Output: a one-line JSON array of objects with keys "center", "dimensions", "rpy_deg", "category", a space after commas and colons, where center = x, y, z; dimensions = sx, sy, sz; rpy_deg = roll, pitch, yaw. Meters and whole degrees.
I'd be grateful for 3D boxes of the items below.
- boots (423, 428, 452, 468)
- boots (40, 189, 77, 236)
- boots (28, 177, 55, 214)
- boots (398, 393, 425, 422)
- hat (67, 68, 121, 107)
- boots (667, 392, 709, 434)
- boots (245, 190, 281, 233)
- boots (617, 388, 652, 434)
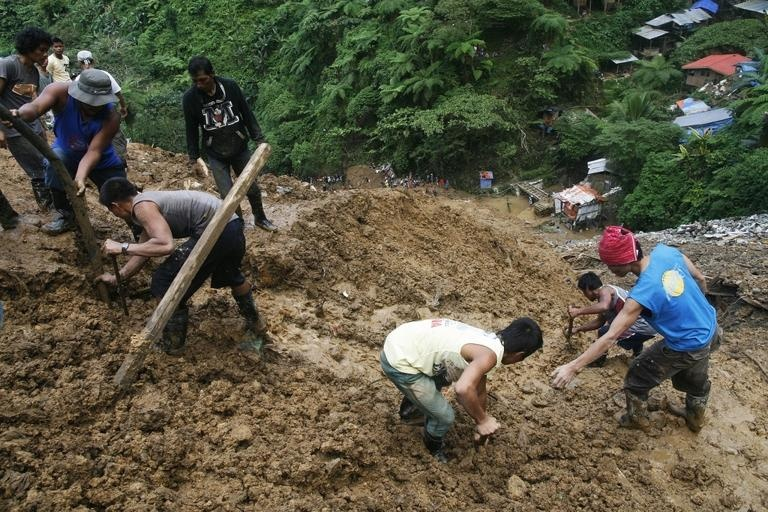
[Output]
[{"center": [0.723, 2.756, 11.484], "dimensions": [0.497, 0.534, 0.262], "rpy_deg": [10, 36, 20], "category": "boots"}, {"center": [-4.865, -0.625, 12.085], "dimensions": [0.638, 0.858, 0.399], "rpy_deg": [-2, 8, -30], "category": "boots"}, {"center": [-5.294, -0.946, 12.415], "dimensions": [0.522, 0.567, 0.286], "rpy_deg": [2, 32, -16], "category": "boots"}, {"center": [0.390, 2.191, 11.485], "dimensions": [0.232, 0.413, 0.307], "rpy_deg": [-38, 17, 3], "category": "boots"}, {"center": [-4.274, -2.570, 11.881], "dimensions": [0.742, 0.359, 0.843], "rpy_deg": [-4, 31, -25], "category": "hat"}, {"center": [4.446, 2.230, 11.890], "dimensions": [0.573, 0.612, 0.271], "rpy_deg": [27, 45, 32], "category": "boots"}, {"center": [-1.993, -0.742, 13.186], "dimensions": [0.453, 0.725, 0.213], "rpy_deg": [27, 47, 32], "category": "boots"}, {"center": [3.628, 2.223, 11.912], "dimensions": [0.494, 0.626, 0.307], "rpy_deg": [8, 21, 41], "category": "boots"}]
